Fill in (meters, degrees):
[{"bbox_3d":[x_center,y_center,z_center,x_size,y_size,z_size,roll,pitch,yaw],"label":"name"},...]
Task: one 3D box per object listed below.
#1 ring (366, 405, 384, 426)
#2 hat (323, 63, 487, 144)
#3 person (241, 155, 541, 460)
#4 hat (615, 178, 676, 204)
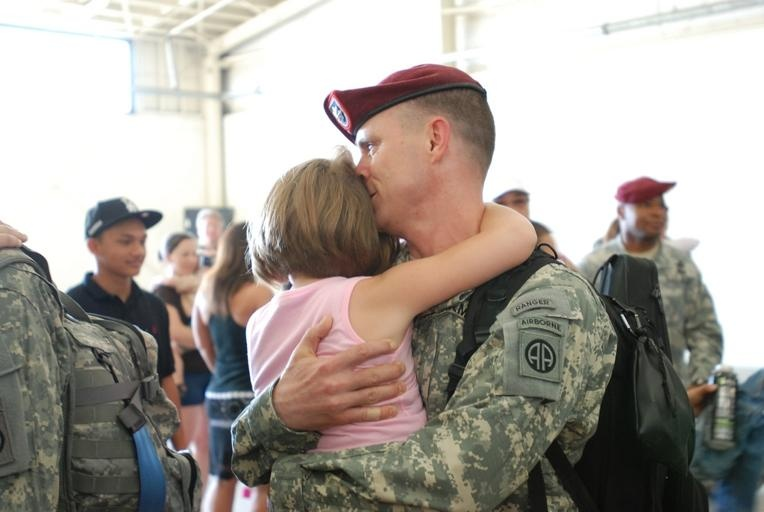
[{"bbox_3d":[-0.037,0.761,4.105,0.072,0.097,0.032,5,3,3],"label":"ring"},{"bbox_3d":[0.132,-0.694,4.331,0.558,0.193,0.449,-23,-1,-3],"label":"hat"},{"bbox_3d":[0.053,0.287,4.175,1.204,1.125,0.719,-14,4,37],"label":"person"},{"bbox_3d":[1.878,-0.468,6.104,0.301,0.110,0.218,-23,-6,35],"label":"hat"}]
